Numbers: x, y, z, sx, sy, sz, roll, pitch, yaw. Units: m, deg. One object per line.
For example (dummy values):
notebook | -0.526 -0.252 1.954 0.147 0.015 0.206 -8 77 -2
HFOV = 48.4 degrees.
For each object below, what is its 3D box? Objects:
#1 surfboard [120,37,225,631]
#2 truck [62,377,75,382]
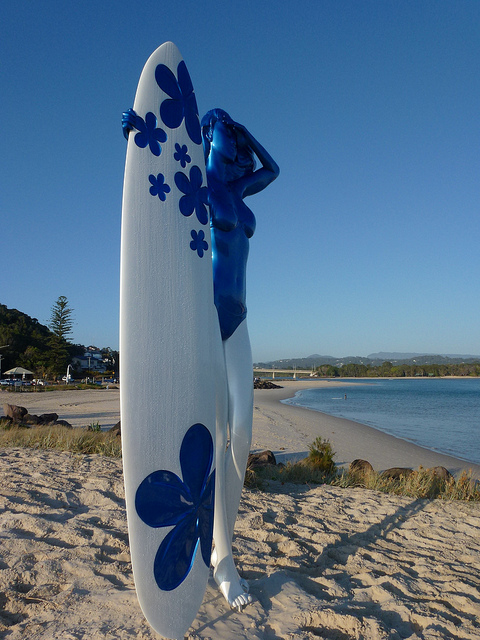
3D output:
surfboard | -0.333 -0.043 2.596 0.299 2.817 0.602 -2 -3 32
truck | -17.281 5.787 53.144 0.870 0.588 1.761 3 -12 -23
